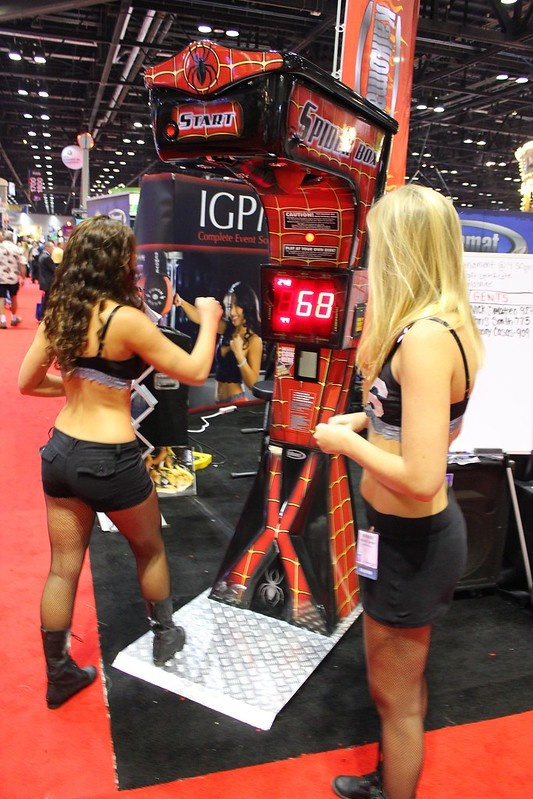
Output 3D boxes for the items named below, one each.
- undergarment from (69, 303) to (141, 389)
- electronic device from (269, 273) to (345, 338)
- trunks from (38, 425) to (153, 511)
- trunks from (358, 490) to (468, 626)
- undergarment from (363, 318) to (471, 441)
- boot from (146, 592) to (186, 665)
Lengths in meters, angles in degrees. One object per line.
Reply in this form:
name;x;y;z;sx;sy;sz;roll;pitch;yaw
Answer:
undergarment;-0.416;-0.142;1.405;0.154;0.195;0.113;19;27;16
electronic device;0.144;-0.326;1.946;0.317;0.250;0.114;9;13;26
trunks;-0.454;0.198;1.516;0.302;0.225;0.172;0;8;-21
trunks;0.269;0.296;1.116;0.207;0.270;0.214;10;-10;18
undergarment;0.260;-0.032;0.945;0.173;0.207;0.188;4;8;10
boot;-0.336;0.758;1.896;0.091;0.194;0.206;-5;-5;14
